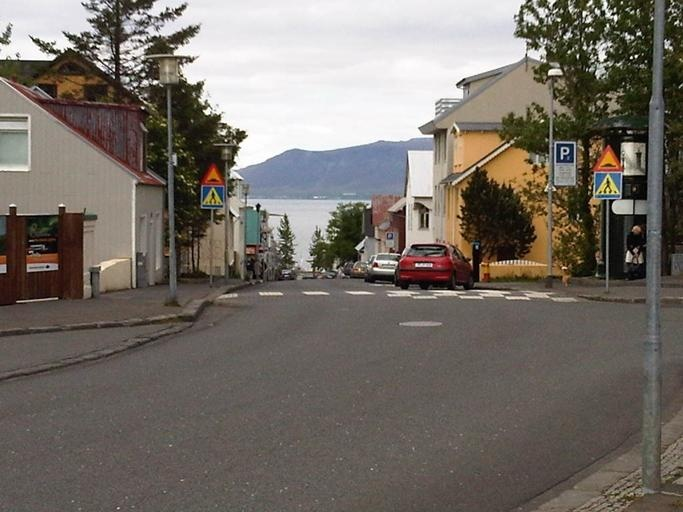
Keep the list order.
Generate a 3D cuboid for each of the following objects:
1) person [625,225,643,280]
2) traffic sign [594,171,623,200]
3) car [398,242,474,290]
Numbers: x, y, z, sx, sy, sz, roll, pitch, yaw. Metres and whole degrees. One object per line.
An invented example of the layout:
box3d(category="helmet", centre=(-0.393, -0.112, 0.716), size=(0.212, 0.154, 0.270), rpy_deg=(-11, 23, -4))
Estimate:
box3d(category="person", centre=(9.186, -0.068, 25.641), size=(0.572, 1.569, 1.929), rpy_deg=(-2, -2, 19))
box3d(category="traffic sign", centre=(7.363, -1.976, 22.651), size=(0.678, 0.846, 0.110), rpy_deg=(0, -3, 9))
box3d(category="car", centre=(3.278, 0.415, 28.653), size=(1.462, 1.274, 2.862), rpy_deg=(0, 3, 12))
